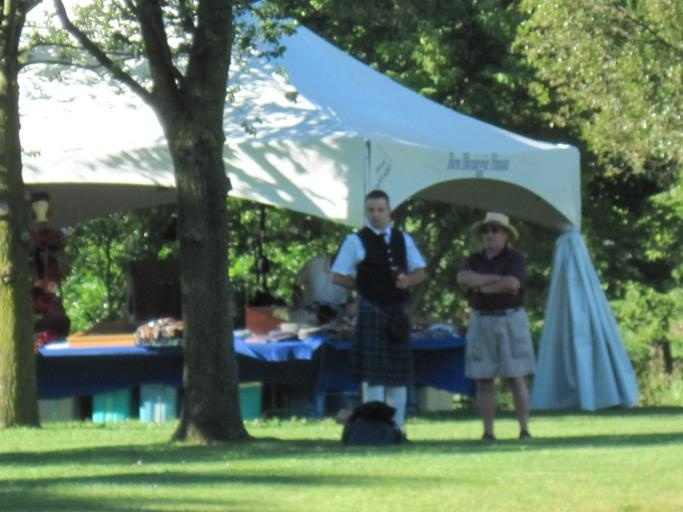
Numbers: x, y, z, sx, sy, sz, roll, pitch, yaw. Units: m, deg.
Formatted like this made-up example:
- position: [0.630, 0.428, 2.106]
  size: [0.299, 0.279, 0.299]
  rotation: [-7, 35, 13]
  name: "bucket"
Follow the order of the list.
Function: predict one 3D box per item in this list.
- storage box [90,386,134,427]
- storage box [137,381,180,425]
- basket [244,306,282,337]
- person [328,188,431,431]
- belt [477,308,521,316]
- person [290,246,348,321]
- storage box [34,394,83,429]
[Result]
- position: [-3.272, 2.129, 24.996]
  size: [0.491, 0.464, 0.486]
  rotation: [0, 1, -18]
  name: "storage box"
- position: [-2.545, 2.086, 25.151]
  size: [0.694, 0.544, 0.672]
  rotation: [-1, -7, -2]
  name: "storage box"
- position: [-1.090, 0.921, 25.012]
  size: [0.431, 0.260, 0.426]
  rotation: [7, -9, -43]
  name: "basket"
- position: [0.470, 0.667, 21.853]
  size: [1.142, 2.931, 0.695]
  rotation: [-2, -11, -10]
  name: "person"
- position: [2.017, 0.703, 22.368]
  size: [0.521, 0.090, 0.065]
  rotation: [-5, -11, 5]
  name: "belt"
- position: [-0.319, 0.416, 25.947]
  size: [1.161, 1.198, 0.671]
  rotation: [3, 0, -35]
  name: "person"
- position: [-3.999, 2.142, 24.513]
  size: [0.518, 0.383, 0.505]
  rotation: [0, 0, -7]
  name: "storage box"
